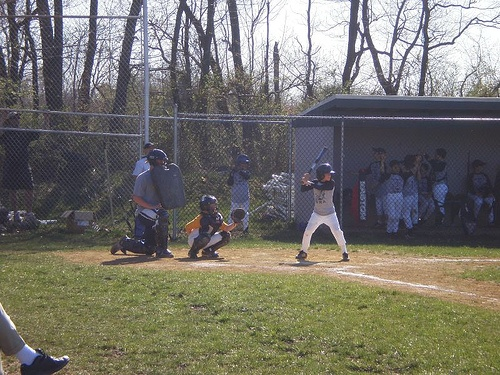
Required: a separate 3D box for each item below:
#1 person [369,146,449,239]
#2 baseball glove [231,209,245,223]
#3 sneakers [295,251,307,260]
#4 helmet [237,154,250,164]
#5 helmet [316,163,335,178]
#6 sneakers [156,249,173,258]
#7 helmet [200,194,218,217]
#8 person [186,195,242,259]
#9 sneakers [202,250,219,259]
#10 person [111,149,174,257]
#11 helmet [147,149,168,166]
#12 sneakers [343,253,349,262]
[{"bbox_3d":[3.771,0.117,16.249,1.338,2.018,1.046,-1,7,-22],"label":"person"},{"bbox_3d":[-0.212,0.509,12.498,0.205,0.261,0.211,14,31,-5],"label":"baseball glove"},{"bbox_3d":[0.970,1.314,12.719,0.200,0.146,0.115,1,-1,11],"label":"sneakers"},{"bbox_3d":[-0.162,-0.624,15.487,0.292,0.196,0.190,2,7,-2],"label":"helmet"},{"bbox_3d":[1.423,-0.301,12.762,0.301,0.263,0.249,1,3,12],"label":"helmet"},{"bbox_3d":[-1.570,1.250,12.484,0.343,0.155,0.134,-1,-4,15],"label":"sneakers"},{"bbox_3d":[-0.789,0.345,12.591,0.342,0.345,0.280,-3,2,6],"label":"helmet"},{"bbox_3d":[-0.765,0.768,12.680,1.139,1.166,0.966,1,2,34],"label":"person"},{"bbox_3d":[-0.728,1.284,12.584,0.334,0.170,0.126,0,-3,3],"label":"sneakers"},{"bbox_3d":[-1.941,0.299,12.714,1.139,1.995,0.903,2,7,1],"label":"person"},{"bbox_3d":[-1.704,-0.508,12.558,0.328,0.276,0.260,6,33,-22],"label":"helmet"},{"bbox_3d":[1.788,1.320,12.670,0.092,0.176,0.172,7,11,44],"label":"sneakers"}]
